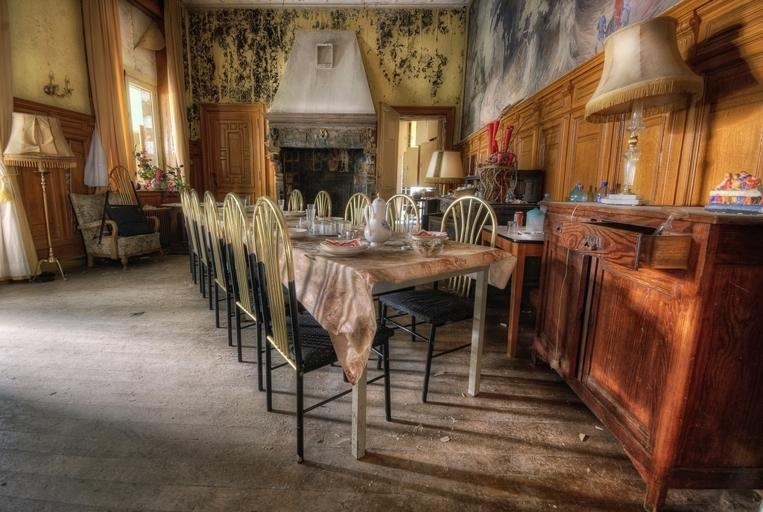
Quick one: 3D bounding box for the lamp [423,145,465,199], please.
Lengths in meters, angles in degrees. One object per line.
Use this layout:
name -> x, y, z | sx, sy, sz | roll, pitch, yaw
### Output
lamp -> 0.737, -1.057, 5.836 | 0.509, 0.520, 0.516 | 1, 6, 3

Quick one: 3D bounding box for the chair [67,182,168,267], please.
chair -> -3.148, -0.418, 6.171 | 0.986, 1.113, 0.850 | 6, 13, 20

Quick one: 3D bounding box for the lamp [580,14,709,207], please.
lamp -> 1.642, -0.899, 3.020 | 0.626, 1.087, 0.544 | -5, 12, -13

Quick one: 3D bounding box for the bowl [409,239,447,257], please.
bowl -> 0.264, -0.056, 2.868 | 0.133, 0.052, 0.121 | 0, 8, 0

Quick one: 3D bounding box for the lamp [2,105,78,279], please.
lamp -> -3.730, -0.671, 5.349 | 0.618, 1.769, 0.739 | -9, 14, -30

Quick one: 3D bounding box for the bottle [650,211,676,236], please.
bottle -> 1.441, -0.170, 2.442 | 0.064, 0.166, 0.062 | 5, 31, -3

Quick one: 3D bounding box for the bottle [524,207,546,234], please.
bottle -> 1.153, -0.268, 3.586 | 0.172, 0.191, 0.169 | 1, 14, 2
